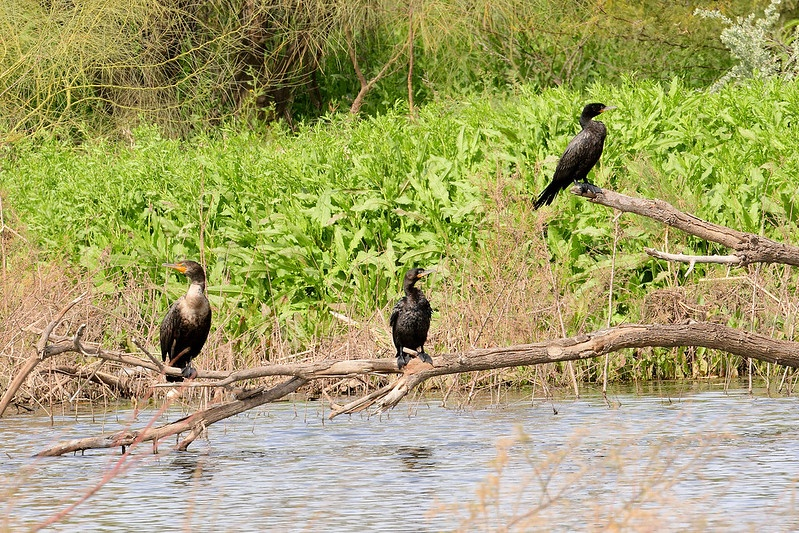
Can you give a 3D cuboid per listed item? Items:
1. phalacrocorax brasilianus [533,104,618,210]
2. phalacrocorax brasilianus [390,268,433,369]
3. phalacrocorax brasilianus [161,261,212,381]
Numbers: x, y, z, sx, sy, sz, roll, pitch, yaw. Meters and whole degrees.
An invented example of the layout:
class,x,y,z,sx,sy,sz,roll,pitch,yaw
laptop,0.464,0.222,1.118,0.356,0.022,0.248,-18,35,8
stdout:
class,x,y,z,sx,sy,sz,roll,pitch,yaw
phalacrocorax brasilianus,1.656,-1.072,10.543,0.914,0.893,0.357,-8,-2,29
phalacrocorax brasilianus,0.099,0.403,9.841,0.352,0.767,0.394,-3,7,-2
phalacrocorax brasilianus,-1.839,0.494,9.568,0.431,1.095,0.978,-4,7,-13
